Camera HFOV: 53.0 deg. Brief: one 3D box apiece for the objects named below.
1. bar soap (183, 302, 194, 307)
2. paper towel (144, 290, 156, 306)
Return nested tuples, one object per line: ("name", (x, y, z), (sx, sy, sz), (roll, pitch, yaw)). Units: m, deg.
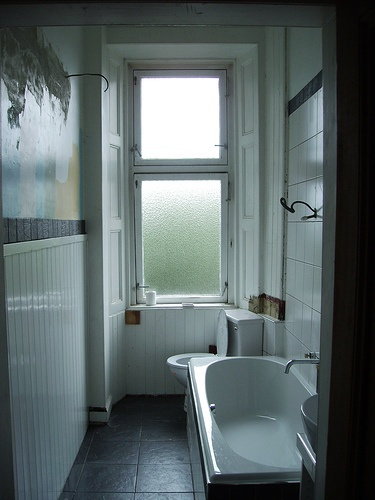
("bar soap", (0.003, 0.474, 3.244), (0.104, 0.028, 0.057), (1, 2, -11))
("paper towel", (-0.327, 0.410, 3.278), (0.075, 0.133, 0.090), (0, 1, 12))
